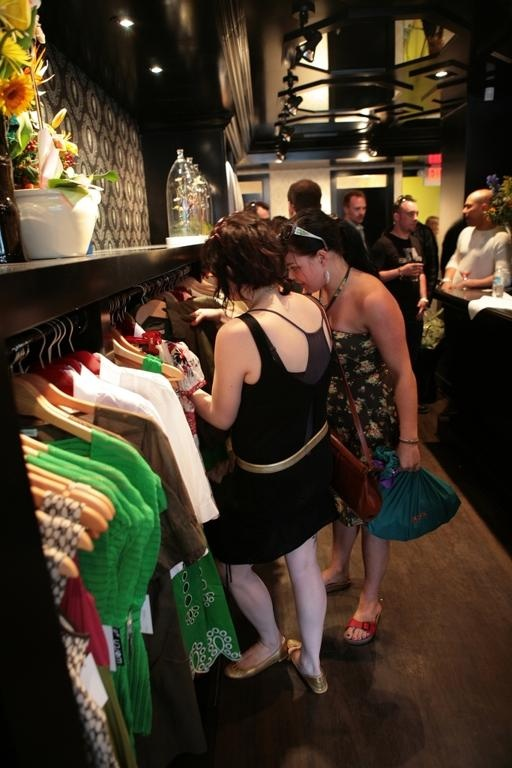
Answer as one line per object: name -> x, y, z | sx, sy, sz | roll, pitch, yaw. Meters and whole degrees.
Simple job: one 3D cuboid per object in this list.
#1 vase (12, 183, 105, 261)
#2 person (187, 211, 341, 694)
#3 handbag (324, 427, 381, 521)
vase -> -0.429, -0.352, 1.060 | 0.192, 0.149, 0.209 | 12, 17, 23
person -> 0.043, 0.310, 1.567 | 0.418, 1.652, 0.442 | -2, 12, 9
handbag -> 0.318, 0.316, 1.670 | 0.073, 0.187, 0.310 | -4, 15, -15
